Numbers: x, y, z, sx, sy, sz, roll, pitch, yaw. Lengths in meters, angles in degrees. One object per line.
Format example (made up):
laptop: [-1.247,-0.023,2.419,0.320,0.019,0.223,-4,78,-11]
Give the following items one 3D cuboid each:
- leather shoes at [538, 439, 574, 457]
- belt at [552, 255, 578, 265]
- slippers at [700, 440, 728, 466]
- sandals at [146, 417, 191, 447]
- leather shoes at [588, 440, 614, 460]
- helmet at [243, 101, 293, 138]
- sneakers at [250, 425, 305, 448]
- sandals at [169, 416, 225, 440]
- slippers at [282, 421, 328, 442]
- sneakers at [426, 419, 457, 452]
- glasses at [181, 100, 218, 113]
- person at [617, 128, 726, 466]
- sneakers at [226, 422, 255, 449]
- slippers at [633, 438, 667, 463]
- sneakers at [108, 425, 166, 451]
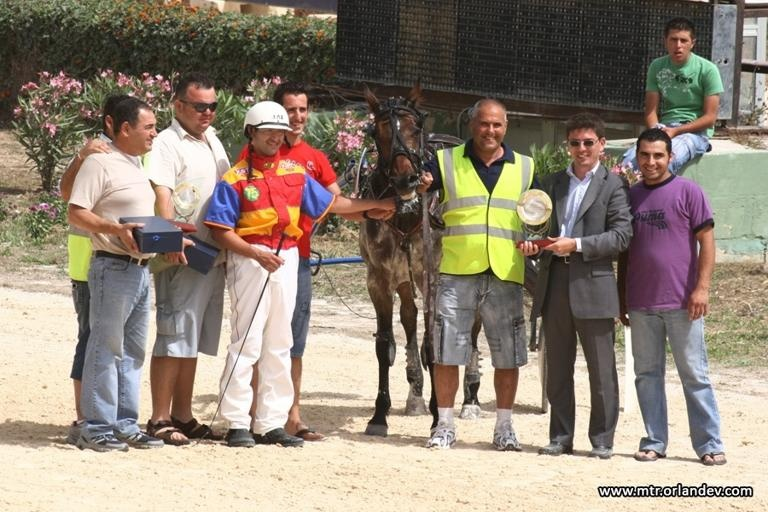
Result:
leather shoes: [1.723,1.904,12.805,0.347,0.131,0.131,6,-1,-21]
belt: [1.782,0.035,12.733,0.227,0.078,0.044,3,4,35]
slippers: [3.246,1.937,12.671,0.161,0.192,0.469,-1,-11,11]
sandals: [-2.146,1.735,12.801,0.484,0.190,0.195,13,19,27]
leather shoes: [2.210,1.902,12.788,0.333,0.169,0.179,-1,4,-34]
helmet: [-1.133,-1.360,12.638,0.454,0.274,0.303,0,3,-7]
sneakers: [-1.060,1.800,12.862,0.518,0.184,0.189,1,-2,0]
sandals: [-1.852,1.731,13.068,0.597,0.229,0.207,9,7,-7]
slippers: [-0.829,1.772,13.103,0.481,0.198,0.163,13,7,12]
sneakers: [0.582,1.801,12.932,0.163,0.167,0.376,2,1,21]
glasses: [-1.827,-1.466,12.715,0.370,0.137,0.156,0,4,-15]
person: [2.879,0.396,12.738,0.936,3.250,0.356,1,3,11]
sneakers: [-1.406,1.778,12.640,0.152,0.112,0.271,2,-3,-33]
slippers: [2.634,1.917,12.748,0.145,0.165,0.414,-4,-10,26]
sneakers: [-2.420,1.768,12.632,0.505,0.211,0.197,6,4,3]
